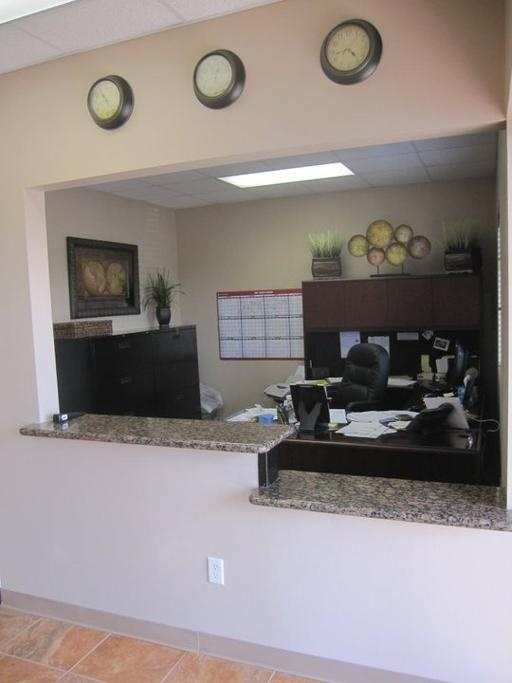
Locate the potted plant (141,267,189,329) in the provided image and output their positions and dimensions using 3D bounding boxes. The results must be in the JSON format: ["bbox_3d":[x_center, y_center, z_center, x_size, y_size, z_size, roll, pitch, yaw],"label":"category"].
[{"bbox_3d":[-0.953,-0.422,5.532,0.399,0.533,0.509,-5,-1,11],"label":"potted plant"}]

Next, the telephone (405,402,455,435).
[{"bbox_3d":[0.936,0.422,2.982,0.164,0.106,0.217,-5,7,-29],"label":"telephone"}]

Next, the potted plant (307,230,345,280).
[{"bbox_3d":[0.658,-0.756,5.248,0.340,0.391,0.296,-5,-12,25],"label":"potted plant"}]

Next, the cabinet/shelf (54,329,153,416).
[{"bbox_3d":[-1.192,0.279,4.187,0.275,0.655,0.605,-2,5,37],"label":"cabinet/shelf"}]

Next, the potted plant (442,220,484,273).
[{"bbox_3d":[1.701,-0.763,4.591,0.272,0.406,0.307,-3,4,23],"label":"potted plant"}]

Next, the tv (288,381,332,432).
[{"bbox_3d":[0.303,0.383,3.195,0.275,0.324,0.174,-1,4,24],"label":"tv"}]

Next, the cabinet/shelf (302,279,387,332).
[{"bbox_3d":[0.778,-0.340,5.147,0.827,0.443,0.258,-2,3,-11],"label":"cabinet/shelf"}]

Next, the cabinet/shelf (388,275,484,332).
[{"bbox_3d":[1.555,-0.306,4.845,0.736,0.461,0.390,-1,-4,20],"label":"cabinet/shelf"}]
